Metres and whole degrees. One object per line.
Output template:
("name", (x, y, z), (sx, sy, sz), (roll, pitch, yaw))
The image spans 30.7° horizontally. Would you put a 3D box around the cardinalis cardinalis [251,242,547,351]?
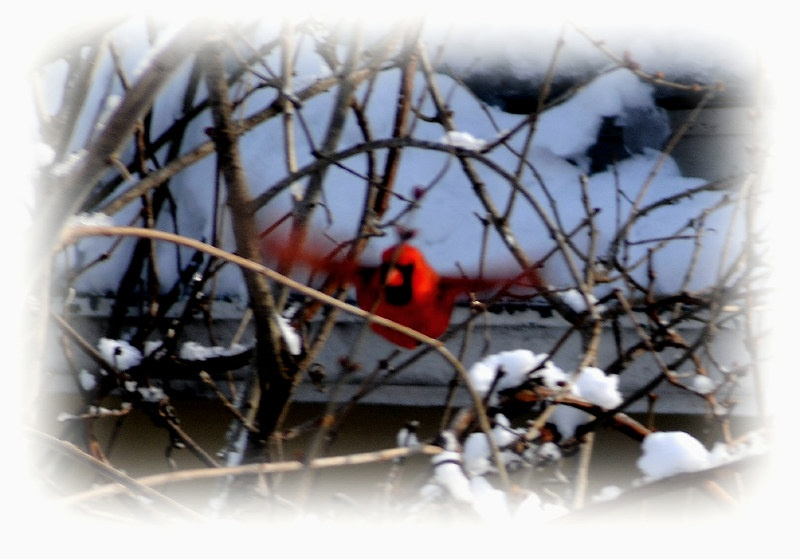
("cardinalis cardinalis", (-0.029, 0.039, 5.547), (0.955, 0.496, 0.277), (3, -75, 7))
